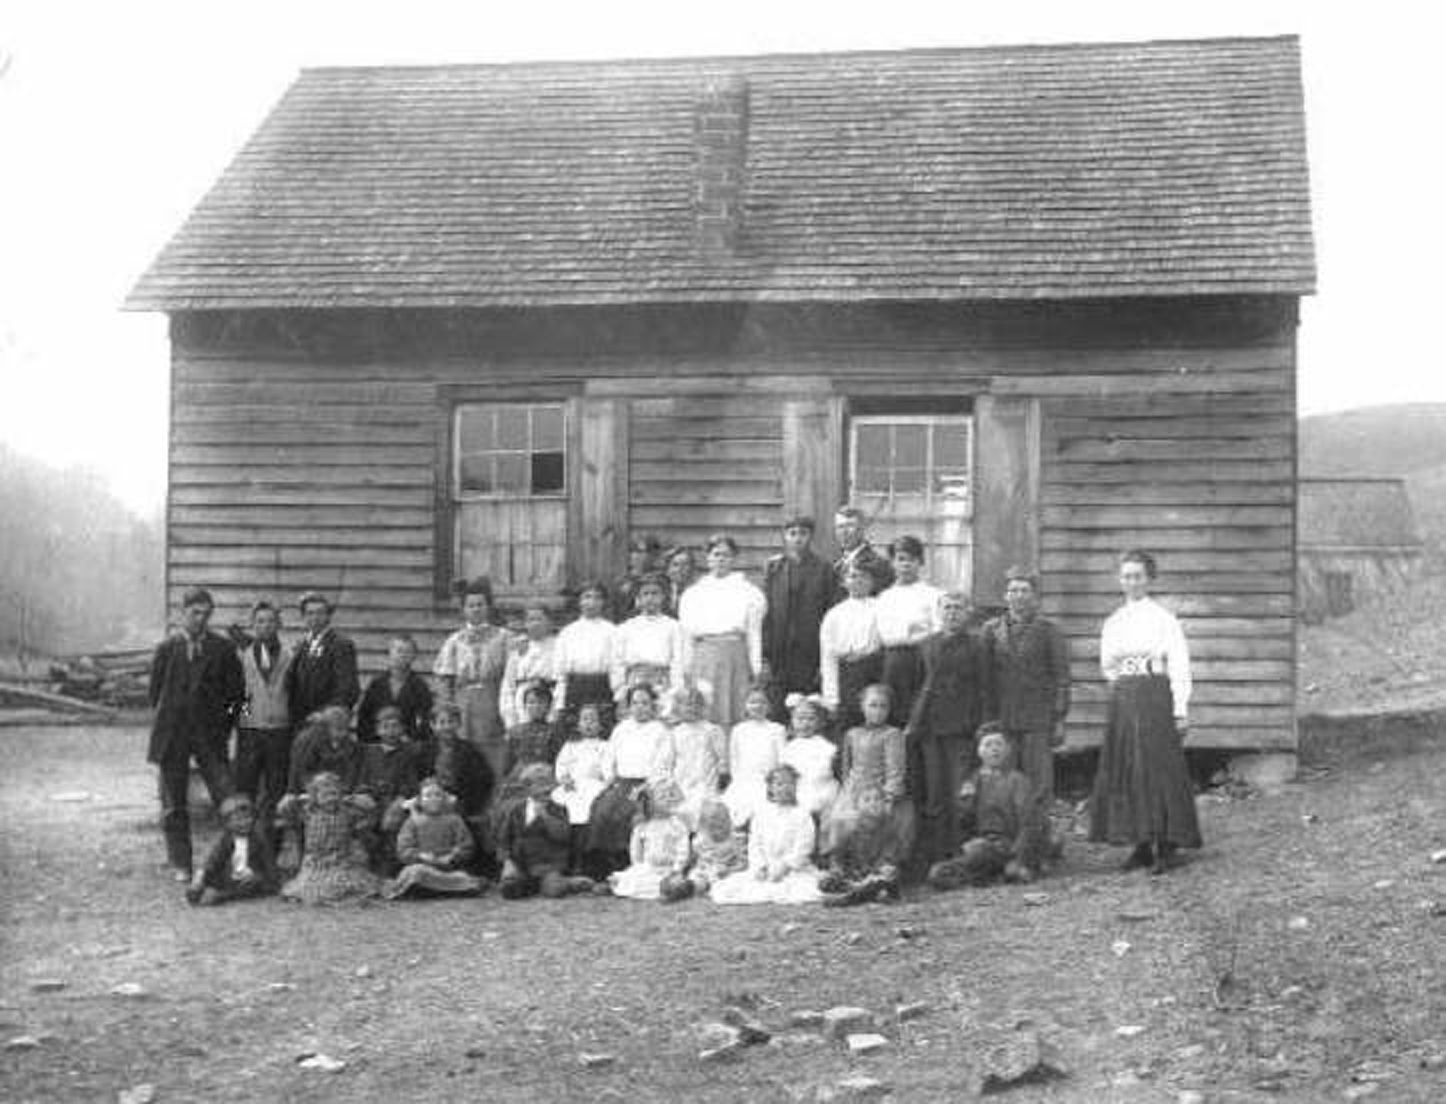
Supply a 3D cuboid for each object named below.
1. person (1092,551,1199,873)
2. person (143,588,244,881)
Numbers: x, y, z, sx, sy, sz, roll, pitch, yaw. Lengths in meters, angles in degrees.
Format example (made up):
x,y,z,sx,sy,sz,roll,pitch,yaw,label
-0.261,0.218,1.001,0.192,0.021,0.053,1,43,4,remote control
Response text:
x,y,z,sx,sy,sz,roll,pitch,yaw,label
2.894,1.086,12.429,0.759,2.144,0.606,0,7,14,person
-3.812,1.415,13.246,0.728,1.727,0.553,-6,8,-30,person
